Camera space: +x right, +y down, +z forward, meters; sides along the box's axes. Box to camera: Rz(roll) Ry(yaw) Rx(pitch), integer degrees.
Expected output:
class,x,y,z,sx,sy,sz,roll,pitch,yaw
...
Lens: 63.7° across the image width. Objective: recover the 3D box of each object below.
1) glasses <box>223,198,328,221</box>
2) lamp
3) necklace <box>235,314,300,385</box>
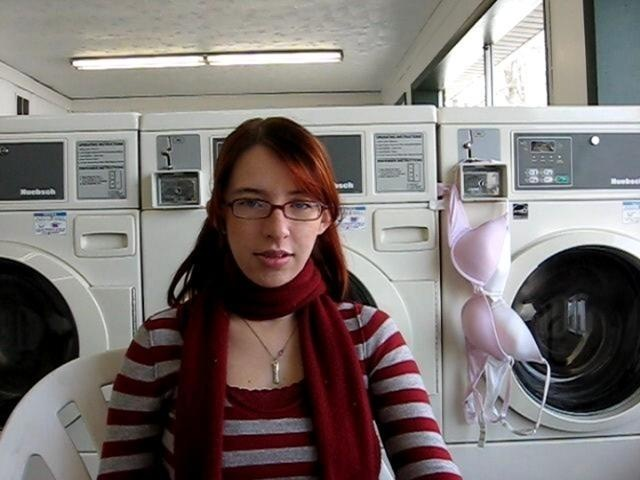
class,x,y,z,sx,sy,sz,roll,pitch,yaw
glasses,-0.123,-0.088,1.464,0.273,0.065,0.058,1,1,-11
lamp,-1.038,-1.658,4.768,2.498,0.141,0.411,1,2,2
necklace,-0.139,0.308,1.551,0.195,0.230,0.165,0,9,0
